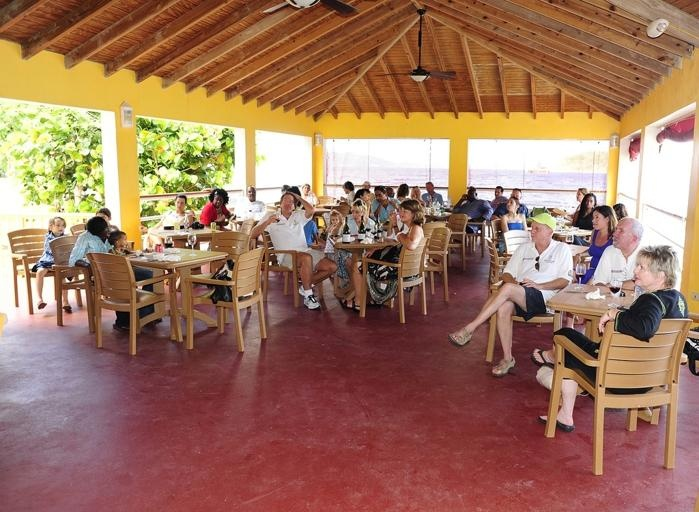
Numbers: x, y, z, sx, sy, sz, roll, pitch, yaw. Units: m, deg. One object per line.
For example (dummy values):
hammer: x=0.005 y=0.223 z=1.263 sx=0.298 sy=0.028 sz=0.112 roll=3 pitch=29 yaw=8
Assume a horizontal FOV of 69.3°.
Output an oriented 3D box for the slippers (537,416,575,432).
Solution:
slippers: x=1.618 y=1.288 z=3.945 sx=0.100 sy=0.077 sz=0.257 roll=0 pitch=0 yaw=-38

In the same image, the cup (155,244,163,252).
cup: x=-2.195 y=-0.100 z=5.837 sx=0.086 sy=0.097 sz=0.084 roll=1 pitch=8 yaw=0

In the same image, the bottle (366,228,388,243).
bottle: x=0.392 y=-0.281 z=7.106 sx=0.235 sy=0.080 sz=0.237 roll=0 pitch=10 yaw=0

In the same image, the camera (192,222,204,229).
camera: x=-2.410 y=-0.498 z=8.059 sx=0.108 sy=0.072 sz=0.140 roll=-9 pitch=11 yaw=-36

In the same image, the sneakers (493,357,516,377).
sneakers: x=1.502 y=1.068 z=4.884 sx=0.112 sy=0.114 sz=0.312 roll=-5 pitch=1 yaw=44

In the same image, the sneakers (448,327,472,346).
sneakers: x=1.033 y=0.772 z=4.744 sx=0.225 sy=0.124 sz=0.099 roll=-8 pitch=-8 yaw=-8

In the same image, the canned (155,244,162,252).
canned: x=-2.195 y=-0.102 z=5.839 sx=0.078 sy=0.089 sz=0.077 roll=-2 pitch=9 yaw=-23
